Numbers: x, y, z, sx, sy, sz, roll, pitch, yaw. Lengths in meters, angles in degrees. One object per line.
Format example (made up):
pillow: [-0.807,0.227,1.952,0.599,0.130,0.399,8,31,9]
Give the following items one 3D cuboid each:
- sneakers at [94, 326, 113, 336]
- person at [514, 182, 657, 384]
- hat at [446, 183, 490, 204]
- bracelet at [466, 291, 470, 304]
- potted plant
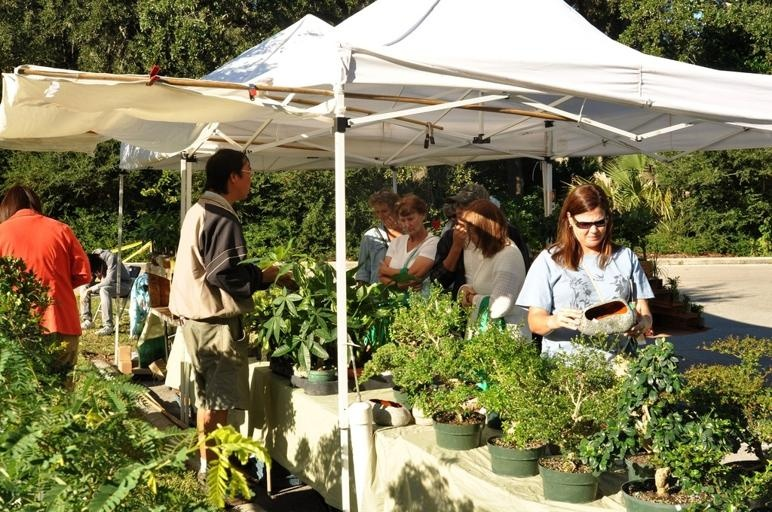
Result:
sneakers: [-3.982,1.034,10.690,0.258,0.114,0.107,4,6,-41]
person: [1.236,0.145,4.561,0.814,1.163,0.656,2,-13,-4]
hat: [0.715,-0.538,6.463,0.310,0.159,0.214,3,-4,-32]
bracelet: [0.587,0.289,5.463,0.020,0.058,0.043,6,5,14]
potted plant: [0.315,0.929,4.665,3.271,1.489,0.658,6,7,38]
